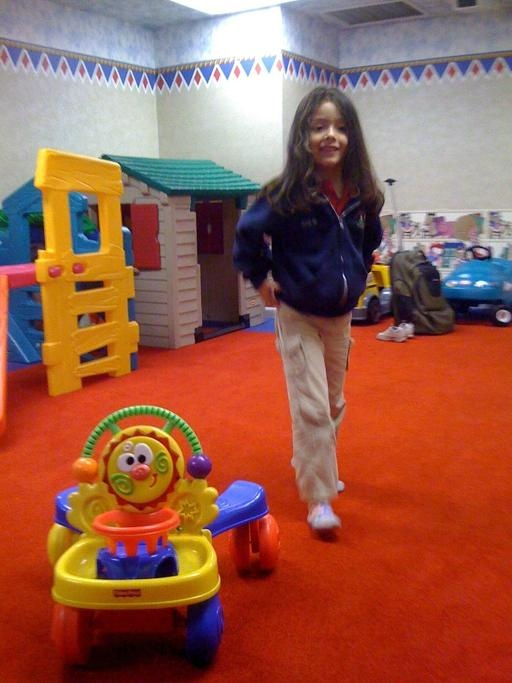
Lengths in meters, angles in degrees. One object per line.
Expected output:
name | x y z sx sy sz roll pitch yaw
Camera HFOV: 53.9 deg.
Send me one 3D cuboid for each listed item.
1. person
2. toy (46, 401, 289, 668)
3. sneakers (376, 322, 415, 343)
person | 0.180 -0.074 1.448 0.494 1.237 0.248 -4 7 -39
toy | -0.148 0.351 1.019 0.499 0.484 0.431 -2 6 -24
sneakers | 1.183 -0.067 4.223 0.155 0.128 0.267 -5 8 -32
